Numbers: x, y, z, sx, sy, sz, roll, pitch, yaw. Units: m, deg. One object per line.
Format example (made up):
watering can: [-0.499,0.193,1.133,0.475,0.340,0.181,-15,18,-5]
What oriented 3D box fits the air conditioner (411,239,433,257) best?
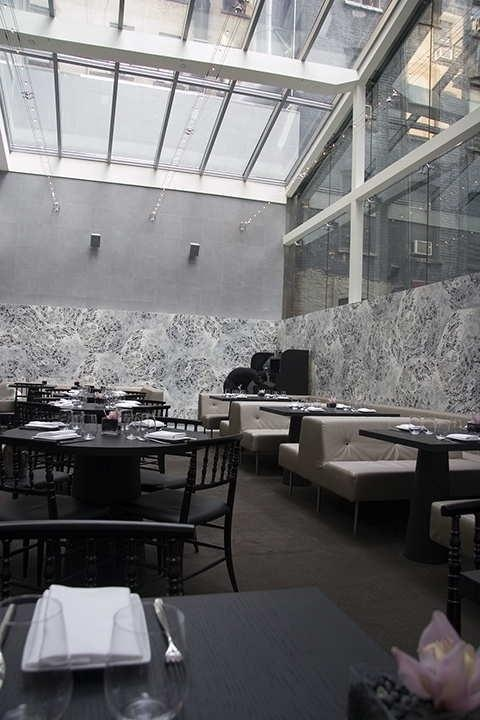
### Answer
air conditioner: [2.268,-1.384,5.847,0.254,0.248,0.135,10,13,43]
